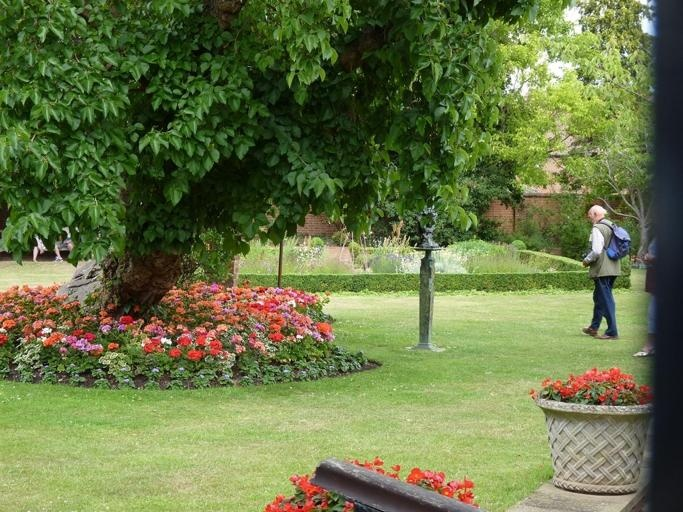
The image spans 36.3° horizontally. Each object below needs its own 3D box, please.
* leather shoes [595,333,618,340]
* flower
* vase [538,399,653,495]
[{"bbox_3d":[3.376,1.023,13.313,0.205,0.082,0.074,-2,0,21],"label":"leather shoes"},{"bbox_3d":[1.776,0.934,7.530,0.662,0.244,0.597,0,-3,-12],"label":"flower"},{"bbox_3d":[1.877,1.361,7.717,0.946,0.634,0.939,5,-16,-30],"label":"vase"}]
